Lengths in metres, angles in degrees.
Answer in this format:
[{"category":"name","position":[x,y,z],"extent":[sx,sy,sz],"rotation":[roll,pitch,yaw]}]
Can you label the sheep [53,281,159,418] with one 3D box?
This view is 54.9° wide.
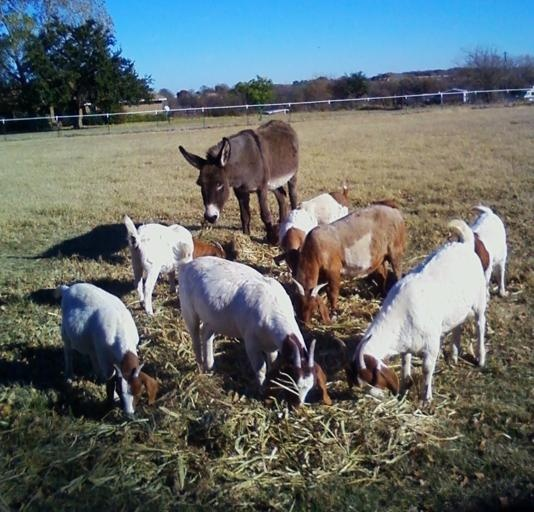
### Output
[{"category":"sheep","position":[-1.727,0.959,5.471],"extent":[0.581,1.251,1.914],"rotation":[-10,24,-32]}]
